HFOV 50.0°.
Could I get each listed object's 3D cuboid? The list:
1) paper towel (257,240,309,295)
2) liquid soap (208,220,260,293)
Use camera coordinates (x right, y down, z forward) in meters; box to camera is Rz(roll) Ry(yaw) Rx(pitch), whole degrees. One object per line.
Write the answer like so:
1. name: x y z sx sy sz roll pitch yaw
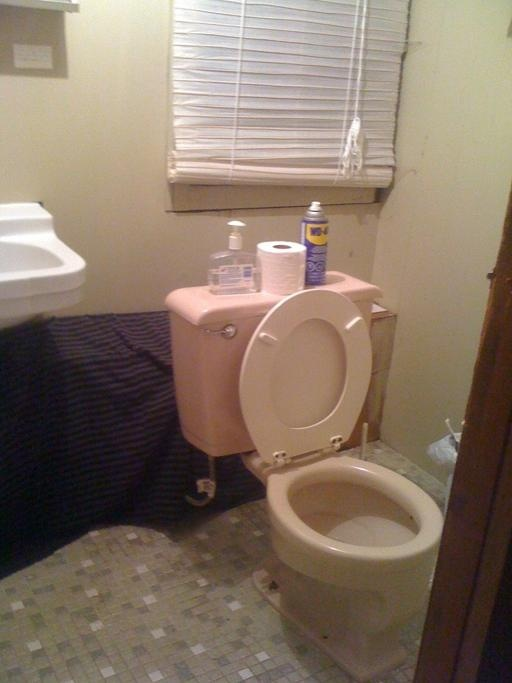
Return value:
1. paper towel: 0.062 -0.176 1.278 0.105 0.094 0.108 -2 23 2
2. liquid soap: -0.050 -0.189 1.289 0.126 0.179 0.061 -2 -8 -2
